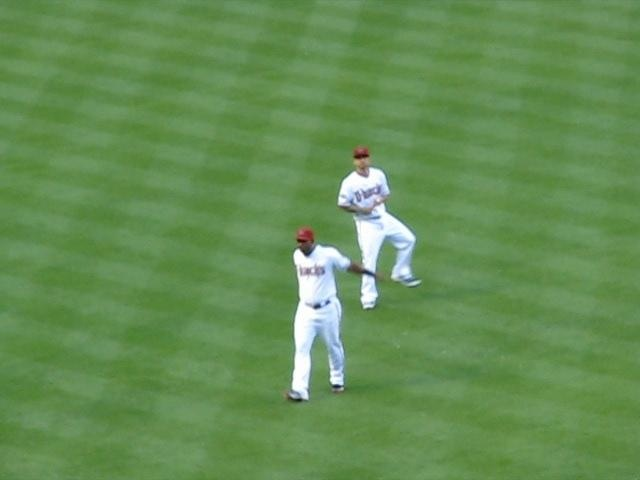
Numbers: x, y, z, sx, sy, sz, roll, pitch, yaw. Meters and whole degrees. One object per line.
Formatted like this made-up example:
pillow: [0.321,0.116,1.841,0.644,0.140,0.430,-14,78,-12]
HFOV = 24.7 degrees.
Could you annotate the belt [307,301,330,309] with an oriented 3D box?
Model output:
belt: [-0.039,1.087,24.283,0.400,0.121,0.116,-7,54,-7]
